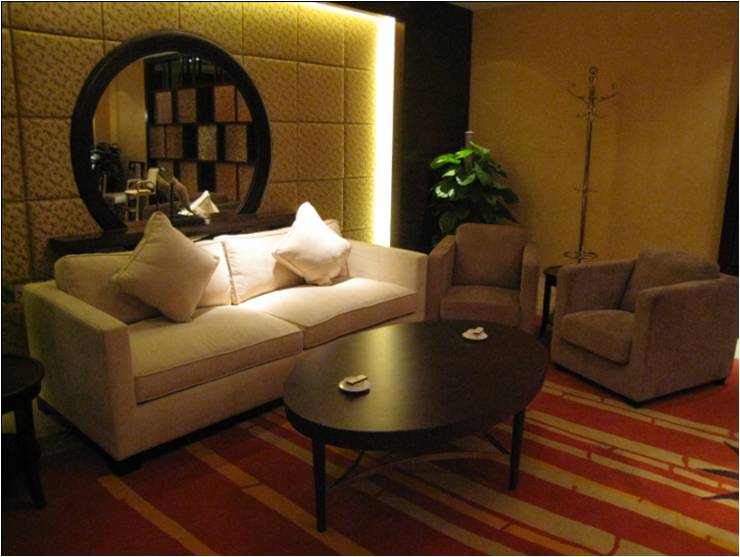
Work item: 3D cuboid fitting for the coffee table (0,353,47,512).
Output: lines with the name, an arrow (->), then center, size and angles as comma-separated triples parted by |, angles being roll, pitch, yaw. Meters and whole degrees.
coffee table -> -1.691, 0.736, 2.818 | 0.182, 0.697, 0.406 | -11, 20, -30

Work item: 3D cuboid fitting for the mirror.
mirror -> -1.444, -1.058, 3.935 | 1.552, 1.562, 0.064 | -5, 6, -39

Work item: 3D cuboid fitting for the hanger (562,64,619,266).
hanger -> 2.030, -1.032, 5.351 | 0.445, 1.881, 0.776 | 5, 18, 17

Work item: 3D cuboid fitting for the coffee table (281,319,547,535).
coffee table -> 0.202, 0.539, 2.834 | 0.891, 0.464, 1.313 | 10, 19, 34
